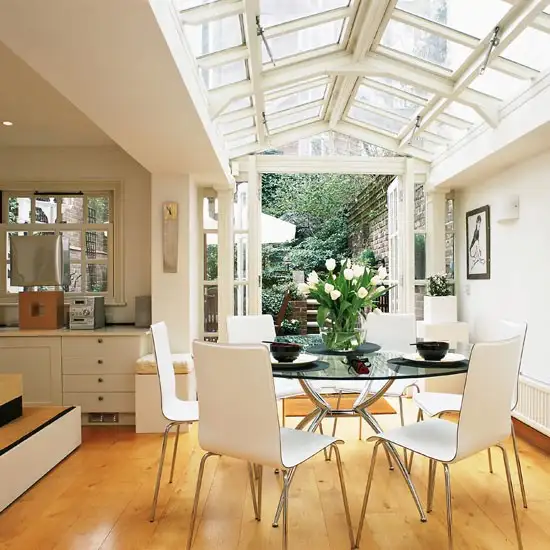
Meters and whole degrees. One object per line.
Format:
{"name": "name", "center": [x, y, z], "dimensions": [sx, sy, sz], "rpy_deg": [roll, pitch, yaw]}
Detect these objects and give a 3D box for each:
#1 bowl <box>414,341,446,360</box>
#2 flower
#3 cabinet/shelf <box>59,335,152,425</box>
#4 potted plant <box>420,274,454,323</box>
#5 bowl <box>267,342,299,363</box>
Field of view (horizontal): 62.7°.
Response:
{"name": "bowl", "center": [0.733, 0.362, 2.152], "dimensions": [0.141, 0.081, 0.077], "rpy_deg": [-1, 0, 14]}
{"name": "flower", "center": [0.355, 0.160, 2.483], "dimensions": [0.458, 0.494, 0.377], "rpy_deg": [-1, 0, 12]}
{"name": "cabinet/shelf", "center": [-1.400, 0.874, 3.938], "dimensions": [0.759, 0.721, 0.517], "rpy_deg": [-3, -8, 14]}
{"name": "potted plant", "center": [1.547, 0.243, 4.445], "dimensions": [0.259, 0.402, 0.262], "rpy_deg": [6, -2, -1]}
{"name": "bowl", "center": [0.032, 0.362, 2.134], "dimensions": [0.136, 0.057, 0.145], "rpy_deg": [-1, 0, 0]}
